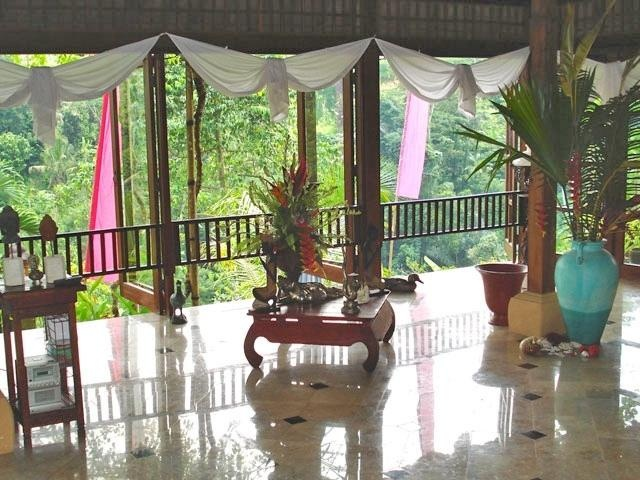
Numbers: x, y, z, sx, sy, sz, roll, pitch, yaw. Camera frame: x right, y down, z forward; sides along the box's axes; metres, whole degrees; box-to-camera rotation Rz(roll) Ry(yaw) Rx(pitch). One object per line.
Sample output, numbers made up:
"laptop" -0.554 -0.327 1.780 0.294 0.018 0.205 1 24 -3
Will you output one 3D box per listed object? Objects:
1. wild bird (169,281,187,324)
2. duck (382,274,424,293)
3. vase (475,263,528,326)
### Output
"wild bird" -1.310 0.555 6.104 0.141 0.401 0.214 -5 14 -13
"duck" 0.887 0.461 7.061 0.437 0.216 0.196 1 -1 12
"vase" 1.583 0.443 6.016 0.476 0.575 0.490 1 6 8
